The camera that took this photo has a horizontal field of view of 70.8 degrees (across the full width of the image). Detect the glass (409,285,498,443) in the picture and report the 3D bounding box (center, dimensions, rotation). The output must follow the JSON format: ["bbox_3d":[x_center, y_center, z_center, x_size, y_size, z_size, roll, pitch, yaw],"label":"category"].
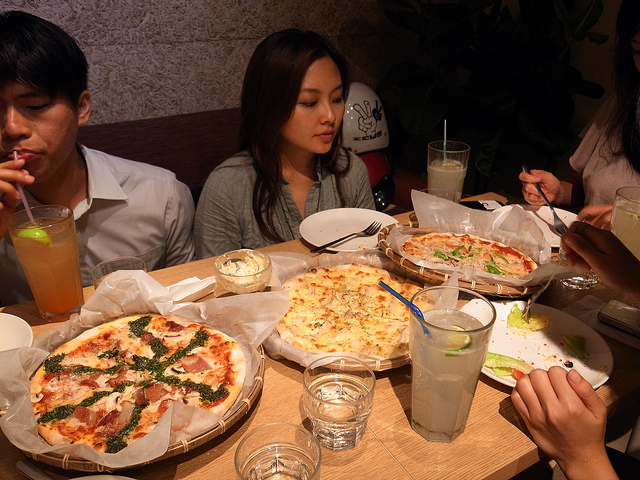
[{"bbox_3d":[0.368,0.362,1.356,0.241,0.427,0.249,18,32,30],"label":"glass"}]

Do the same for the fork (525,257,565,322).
[{"bbox_3d":[0.916,0.212,1.804,0.041,0.284,0.040,39,-13,-1],"label":"fork"}]

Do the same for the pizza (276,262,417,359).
[{"bbox_3d":[0.120,0.290,1.777,0.596,0.063,0.596,-5,29,2],"label":"pizza"}]

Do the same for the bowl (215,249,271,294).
[{"bbox_3d":[-0.310,0.123,1.839,0.223,0.123,0.221,-4,16,1],"label":"bowl"}]

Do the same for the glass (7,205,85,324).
[{"bbox_3d":[-1.052,0.099,1.859,0.253,0.556,0.250,-21,35,-35],"label":"glass"}]

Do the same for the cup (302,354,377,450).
[{"bbox_3d":[0.045,0.474,1.373,0.238,0.208,0.260,-1,23,0],"label":"cup"}]

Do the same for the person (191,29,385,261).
[{"bbox_3d":[-0.197,-0.697,3.140,1.584,1.354,0.799,-19,29,-36],"label":"person"}]

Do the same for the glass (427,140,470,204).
[{"bbox_3d":[0.748,-0.429,2.686,0.219,0.416,0.221,10,31,16],"label":"glass"}]

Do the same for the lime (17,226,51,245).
[{"bbox_3d":[-1.075,-0.015,1.684,0.118,0.059,0.032,4,27,7],"label":"lime"}]

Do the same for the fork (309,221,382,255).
[{"bbox_3d":[0.132,-0.006,2.310,0.303,0.040,0.047,-24,38,-6],"label":"fork"}]

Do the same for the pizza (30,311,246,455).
[{"bbox_3d":[-0.627,0.489,1.559,0.662,0.694,0.064,11,26,-32],"label":"pizza"}]
